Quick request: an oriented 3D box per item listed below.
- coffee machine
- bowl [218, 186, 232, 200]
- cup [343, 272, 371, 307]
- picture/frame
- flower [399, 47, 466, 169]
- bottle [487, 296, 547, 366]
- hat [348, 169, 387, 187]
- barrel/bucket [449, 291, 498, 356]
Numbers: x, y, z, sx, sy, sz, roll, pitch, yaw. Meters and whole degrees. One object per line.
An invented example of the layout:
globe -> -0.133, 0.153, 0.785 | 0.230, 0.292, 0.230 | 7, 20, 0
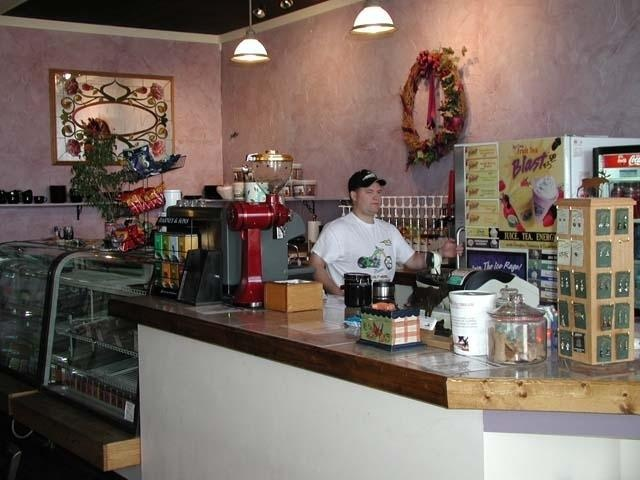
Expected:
coffee machine -> -0.279, -0.055, 2.583 | 0.310, 0.719, 0.210 | -4, 6, -11
bowl -> -1.107, -0.538, 6.255 | 0.182, 0.167, 0.141 | 2, 4, 43
cup -> 0.179, 0.237, 2.518 | 0.121, 0.152, 0.191 | -5, 6, -14
picture/frame -> -2.383, -1.382, 5.984 | 1.456, 1.127, 0.031 | -3, 5, -31
flower -> 1.034, -1.108, 4.661 | 0.279, 0.890, 0.647 | 3, 1, -32
bottle -> 0.598, 0.256, 1.641 | 0.180, 0.220, 0.185 | -2, -2, 36
hat -> 0.321, -0.399, 3.696 | 0.210, 0.132, 0.153 | -18, -5, 35
barrel/bucket -> 0.470, 0.269, 1.775 | 0.164, 0.203, 0.173 | 1, 2, 0
